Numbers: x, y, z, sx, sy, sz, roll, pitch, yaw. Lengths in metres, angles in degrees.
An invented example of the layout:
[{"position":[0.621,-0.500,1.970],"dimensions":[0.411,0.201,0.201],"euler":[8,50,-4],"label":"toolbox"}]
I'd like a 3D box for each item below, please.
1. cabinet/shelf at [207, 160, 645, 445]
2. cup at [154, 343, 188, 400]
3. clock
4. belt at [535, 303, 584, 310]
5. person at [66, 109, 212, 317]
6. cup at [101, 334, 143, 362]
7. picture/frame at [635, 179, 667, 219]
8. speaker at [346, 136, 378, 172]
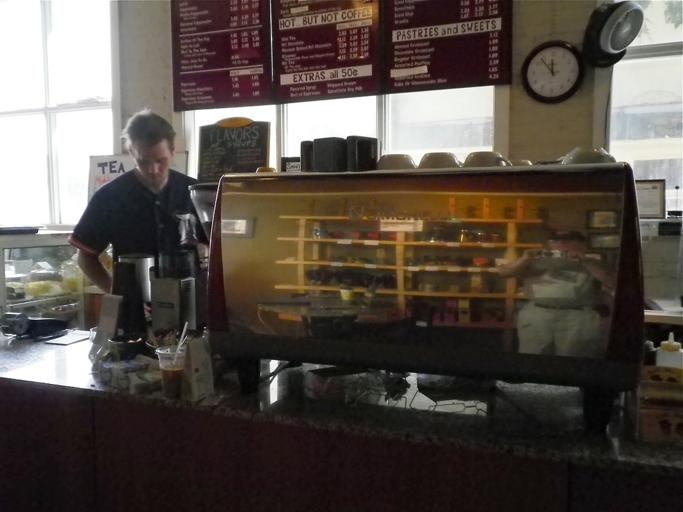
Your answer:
[{"position":[0.248,0.096,2.046],"dimensions":[1.386,0.711,0.455],"euler":[1,6,24],"label":"cabinet/shelf"},{"position":[-0.553,0.384,2.041],"dimensions":[0.117,0.144,0.109],"euler":[-2,-6,0],"label":"cup"},{"position":[1.169,-1.016,3.374],"dimensions":[0.377,0.374,0.052],"euler":[1,5,21],"label":"clock"},{"position":[0.622,0.139,1.737],"dimensions":[0.105,0.014,0.014],"euler":[5,5,15],"label":"belt"},{"position":[-1.061,-0.286,3.123],"dimensions":[0.608,0.886,0.362],"euler":[-4,6,-21],"label":"person"},{"position":[-0.760,0.314,2.160],"dimensions":[0.097,0.063,0.096],"euler":[2,-1,0],"label":"cup"},{"position":[2.043,-0.381,4.101],"dimensions":[0.241,0.255,0.016],"euler":[-2,2,-11],"label":"picture/frame"},{"position":[0.066,-0.329,1.989],"dimensions":[0.106,0.100,0.105],"euler":[0,7,5],"label":"speaker"}]
